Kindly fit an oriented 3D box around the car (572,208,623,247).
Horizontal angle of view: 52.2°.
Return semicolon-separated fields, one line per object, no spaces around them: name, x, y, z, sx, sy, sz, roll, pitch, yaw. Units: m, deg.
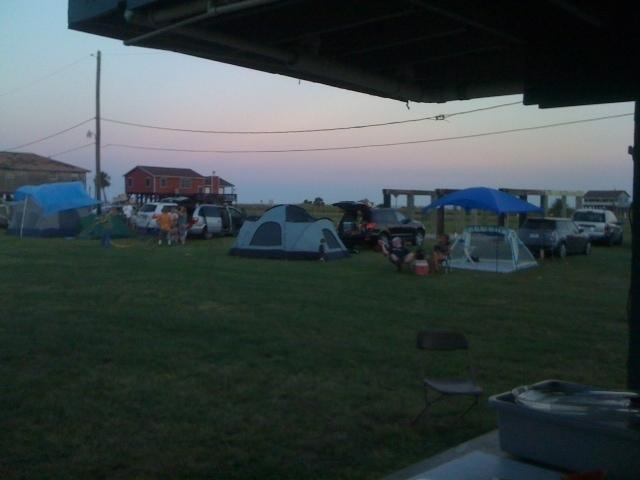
car;12.212;-0.662;28.259;1.726;1.319;2.763;3;10;33

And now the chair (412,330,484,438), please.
chair;1.470;1.649;7.399;0.651;1.147;0.926;1;1;0

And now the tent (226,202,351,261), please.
tent;-1.066;-0.273;20.286;2.923;1.656;0.830;2;6;12

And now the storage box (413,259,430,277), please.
storage box;2.749;0.734;17.452;0.386;0.383;0.553;0;7;2

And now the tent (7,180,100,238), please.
tent;-11.749;-1.263;28.858;2.640;1.777;2.734;7;9;39

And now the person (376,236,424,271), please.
person;2.249;0.429;18.153;0.717;0.497;1.193;-11;23;-2

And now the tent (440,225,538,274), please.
tent;5.160;0.352;19.970;1.818;1.045;1.842;-1;2;-30

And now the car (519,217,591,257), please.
car;8.361;-0.082;22.920;2.020;0.910;1.294;-8;11;-39

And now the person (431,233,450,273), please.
person;3.530;0.365;18.864;0.514;0.954;1.870;1;7;12
